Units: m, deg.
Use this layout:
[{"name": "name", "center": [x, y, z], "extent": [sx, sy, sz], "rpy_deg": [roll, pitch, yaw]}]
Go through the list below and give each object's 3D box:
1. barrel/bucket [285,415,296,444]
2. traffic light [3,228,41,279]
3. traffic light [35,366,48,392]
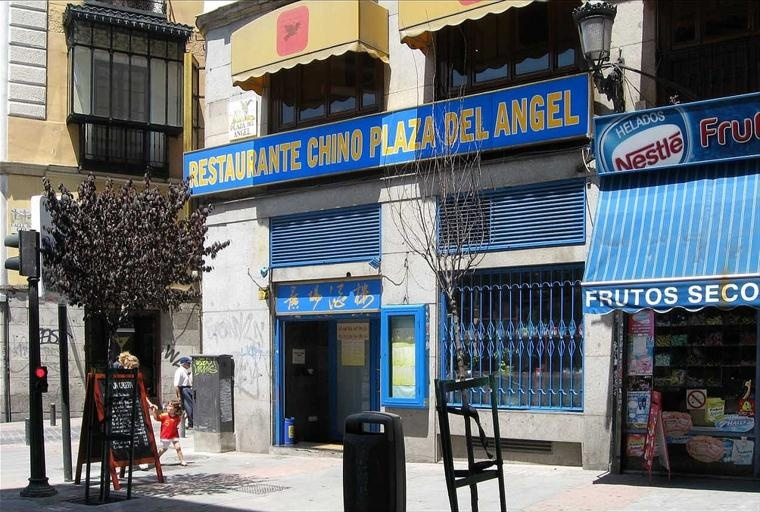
[{"name": "barrel/bucket", "center": [-2.182, 4.233, 28.235], "extent": [0.194, 0.631, 0.455], "rpy_deg": [1, 6, 27]}, {"name": "traffic light", "center": [-7.155, -0.013, 23.431], "extent": [0.816, 0.992, 0.439], "rpy_deg": [1, 7, 32]}, {"name": "traffic light", "center": [-6.854, 2.498, 23.630], "extent": [0.171, 0.536, 0.236], "rpy_deg": [-1, 6, 10]}]
